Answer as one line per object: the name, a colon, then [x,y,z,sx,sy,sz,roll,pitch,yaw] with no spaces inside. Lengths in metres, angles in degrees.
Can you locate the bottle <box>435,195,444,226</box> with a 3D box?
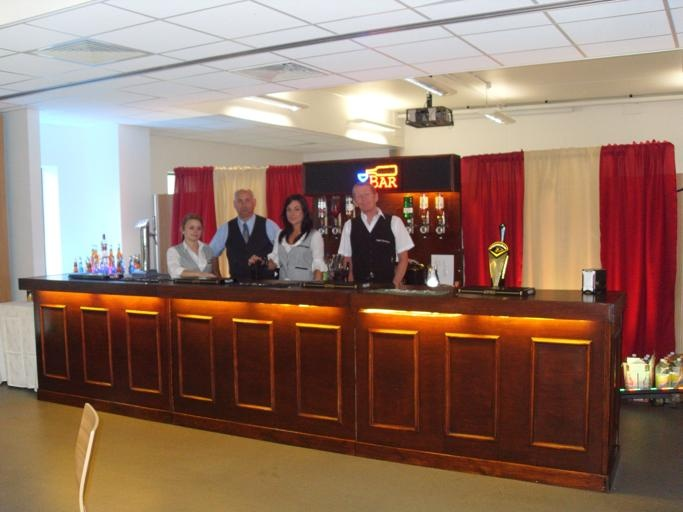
bottle: [1.314,-0.613,7.877,0.124,0.405,0.068,-2,13,7]

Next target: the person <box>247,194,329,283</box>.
person: [-0.529,-0.220,7.027,0.766,0.992,0.361,8,17,40]

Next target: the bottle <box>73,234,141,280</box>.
bottle: [-3.230,0.003,8.309,0.643,0.411,0.336,0,0,15]

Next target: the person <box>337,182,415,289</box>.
person: [0.356,-0.253,7.194,0.906,1.241,0.574,3,15,26]

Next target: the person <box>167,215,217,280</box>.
person: [-1.662,-0.062,6.652,0.555,0.755,0.663,-8,14,-18]

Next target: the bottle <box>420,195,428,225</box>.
bottle: [1.116,-0.620,7.961,0.122,0.406,0.075,-1,13,10]
